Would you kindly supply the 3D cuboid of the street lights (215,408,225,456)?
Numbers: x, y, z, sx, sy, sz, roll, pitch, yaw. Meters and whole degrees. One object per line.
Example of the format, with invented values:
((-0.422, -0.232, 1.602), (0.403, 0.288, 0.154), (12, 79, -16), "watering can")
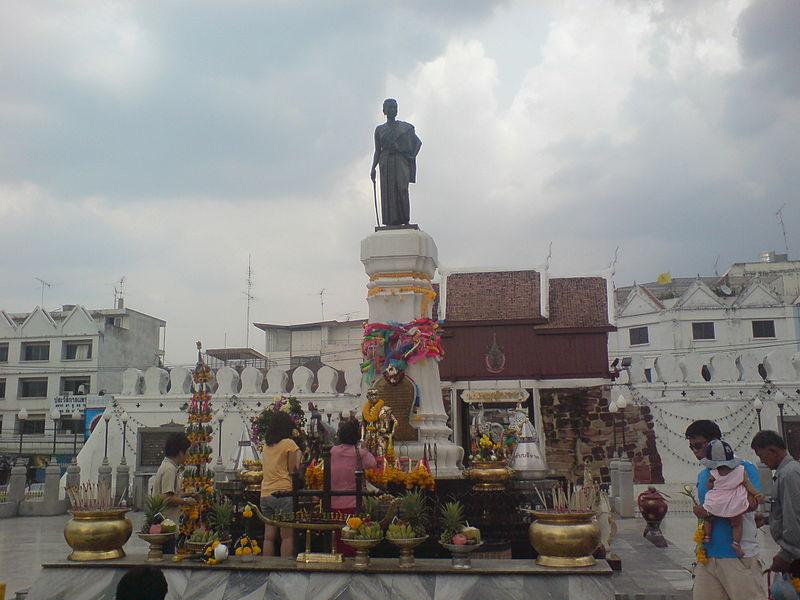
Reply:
((-4.701, 3.499, 25.022), (0.293, 1.251, 0.212), (-10, -14, 36), "street lights")

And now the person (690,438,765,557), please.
((3.641, 2.206, 10.567), (0.644, 1.291, 0.328), (-4, -12, 16), "person")

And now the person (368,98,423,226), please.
((-0.064, -2.322, 16.328), (0.799, 2.208, 0.444), (-1, -12, -1), "person")

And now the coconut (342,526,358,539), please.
((-0.578, 2.672, 10.850), (0.128, 0.088, 0.127), (8, -14, -38), "coconut")

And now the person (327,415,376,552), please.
((-0.576, 2.260, 11.700), (0.530, 1.729, 1.276), (0, -12, -2), "person")

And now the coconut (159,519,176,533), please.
((-2.809, 2.762, 11.550), (0.125, 0.164, 0.229), (-1, -3, -10), "coconut")

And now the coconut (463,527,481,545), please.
((0.825, 2.716, 10.887), (0.173, 0.181, 0.176), (7, -20, -17), "coconut")

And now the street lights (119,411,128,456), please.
((-7.409, 3.626, 25.739), (0.187, 1.135, 0.343), (3, -12, -19), "street lights")

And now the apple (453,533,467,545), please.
((0.678, 2.713, 10.755), (0.104, 0.112, 0.109), (10, -12, 33), "apple")

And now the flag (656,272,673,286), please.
((12.236, -1.025, 44.118), (0.680, 0.503, 1.664), (-5, -13, 16), "flag")

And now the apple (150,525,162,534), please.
((-2.858, 2.725, 11.237), (0.144, 0.099, 0.077), (2, -13, -16), "apple")

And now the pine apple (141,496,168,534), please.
((-3.023, 2.610, 11.559), (0.336, 0.503, 0.314), (-3, -12, 3), "pine apple")

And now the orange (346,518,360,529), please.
((-0.517, 2.562, 10.823), (0.122, 0.073, 0.127), (2, -35, -5), "orange")

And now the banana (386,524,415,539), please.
((0.006, 2.647, 10.798), (0.189, 0.132, 0.169), (-1, -17, 13), "banana")

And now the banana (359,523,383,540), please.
((-0.321, 2.650, 10.846), (0.209, 0.203, 0.180), (-2, -13, 19), "banana")
